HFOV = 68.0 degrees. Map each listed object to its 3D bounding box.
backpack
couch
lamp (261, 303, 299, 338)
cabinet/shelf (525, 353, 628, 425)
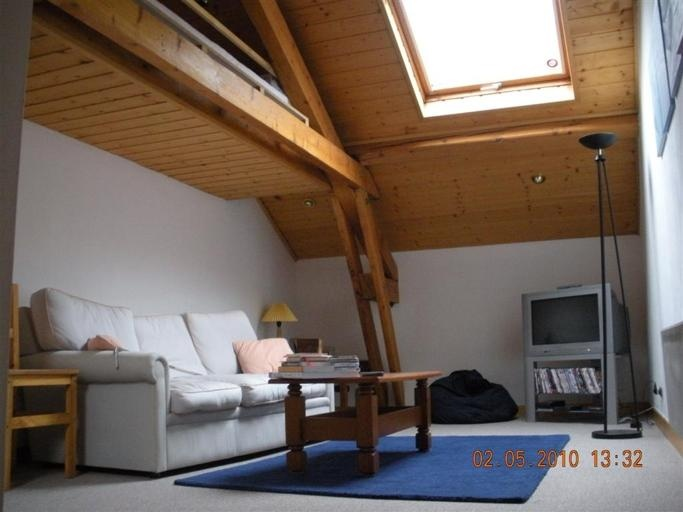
[{"bbox_3d":[1.318,1.451,5.154,0.738,0.310,0.715,-1,-6,-34],"label":"backpack"},{"bbox_3d":[-1.141,0.900,3.898,1.277,1.049,2.145,-7,-13,29],"label":"couch"},{"bbox_3d":[-0.742,0.810,6.022,0.460,0.431,0.437,-2,-19,-2],"label":"lamp"},{"bbox_3d":[2.232,1.258,4.815,0.926,0.719,0.499,-2,-7,23],"label":"cabinet/shelf"}]
